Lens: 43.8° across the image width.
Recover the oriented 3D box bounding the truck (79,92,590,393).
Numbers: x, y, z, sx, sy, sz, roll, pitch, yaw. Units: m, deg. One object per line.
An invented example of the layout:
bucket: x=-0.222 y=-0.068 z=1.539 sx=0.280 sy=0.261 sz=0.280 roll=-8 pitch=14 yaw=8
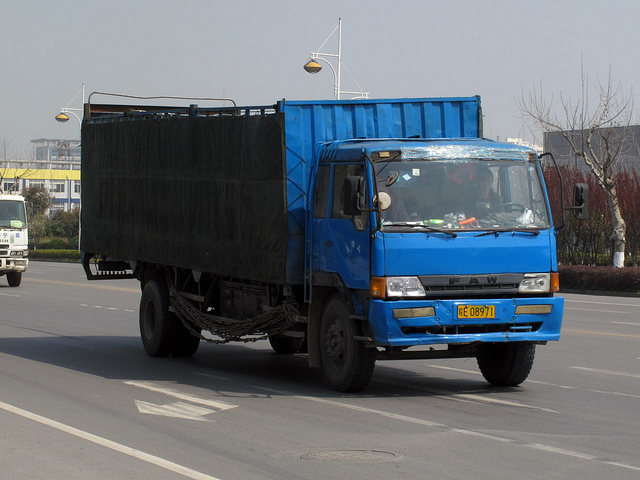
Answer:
truck: x=-0.862 y=-0.262 z=13.499 sx=7.333 sy=4.303 sz=3.184 roll=3 pitch=5 yaw=45
